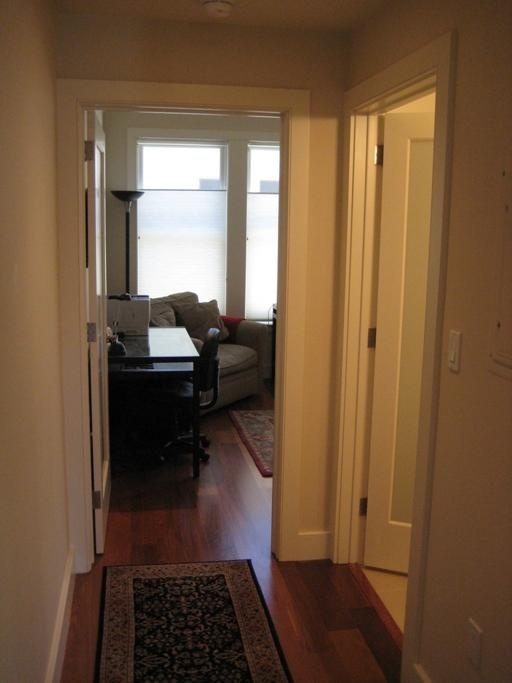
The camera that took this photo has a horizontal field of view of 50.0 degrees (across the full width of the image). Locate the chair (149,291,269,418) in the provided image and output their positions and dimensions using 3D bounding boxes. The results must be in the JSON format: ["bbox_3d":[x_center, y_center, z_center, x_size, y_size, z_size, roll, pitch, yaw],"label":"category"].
[{"bbox_3d":[-0.571,0.066,5.490,1.030,1.110,1.025,4,10,38],"label":"chair"}]
